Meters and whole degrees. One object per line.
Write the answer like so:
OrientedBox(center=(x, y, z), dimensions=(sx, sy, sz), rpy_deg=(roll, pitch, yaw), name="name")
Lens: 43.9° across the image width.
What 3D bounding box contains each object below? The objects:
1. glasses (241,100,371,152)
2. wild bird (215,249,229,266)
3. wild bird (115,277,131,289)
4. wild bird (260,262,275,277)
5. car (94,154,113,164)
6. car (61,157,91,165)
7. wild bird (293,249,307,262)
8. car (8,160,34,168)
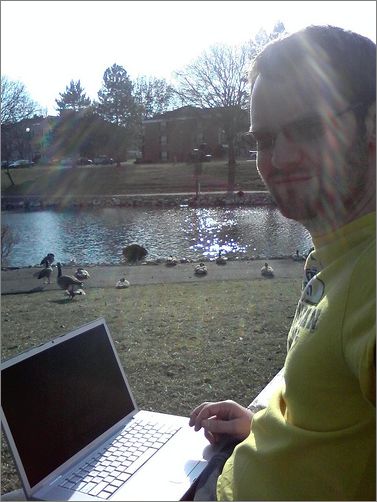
OrientedBox(center=(0.403, -0.355, 1.411), dimensions=(0.192, 0.047, 0.187), rpy_deg=(-30, 20, -35), name="glasses")
OrientedBox(center=(0.907, 0.187, 12.807), dimensions=(0.306, 0.294, 0.312), rpy_deg=(-2, 18, 5), name="wild bird")
OrientedBox(center=(-1.301, 0.646, 9.216), dimensions=(0.203, 0.085, 0.219), rpy_deg=(-1, 36, -3), name="wild bird")
OrientedBox(center=(1.650, 0.403, 9.836), dimensions=(0.234, 0.276, 0.296), rpy_deg=(-4, 8, 3), name="wild bird")
OrientedBox(center=(-11.586, -12.210, 62.774), dimensions=(1.269, 1.021, 2.508), rpy_deg=(13, 22, 31), name="car")
OrientedBox(center=(-14.678, -11.583, 60.802), dimensions=(3.836, 1.108, 2.637), rpy_deg=(-4, 7, -14), name="car")
OrientedBox(center=(2.893, 0.118, 12.207), dimensions=(0.247, 0.077, 0.249), rpy_deg=(34, 42, -2), name="wild bird")
OrientedBox(center=(-21.545, -11.264, 60.554), dimensions=(3.032, 1.198, 1.379), rpy_deg=(-6, 13, -38), name="car")
